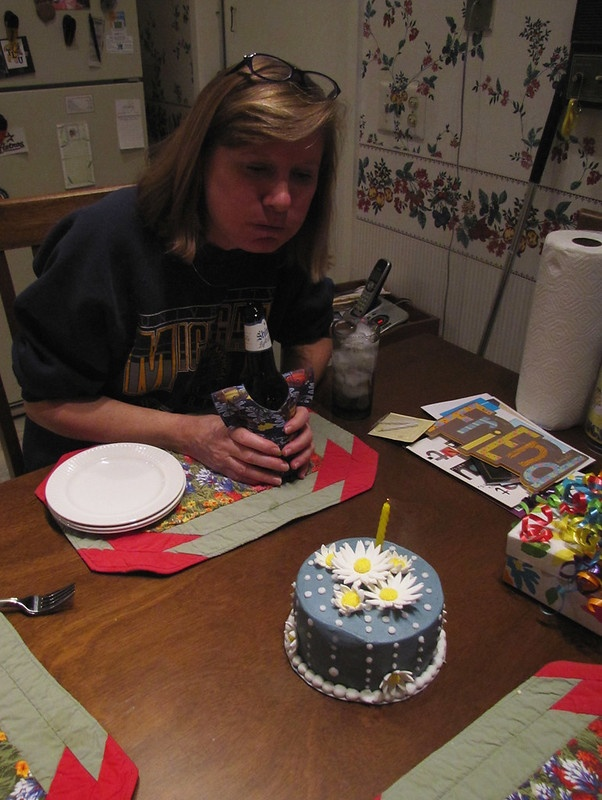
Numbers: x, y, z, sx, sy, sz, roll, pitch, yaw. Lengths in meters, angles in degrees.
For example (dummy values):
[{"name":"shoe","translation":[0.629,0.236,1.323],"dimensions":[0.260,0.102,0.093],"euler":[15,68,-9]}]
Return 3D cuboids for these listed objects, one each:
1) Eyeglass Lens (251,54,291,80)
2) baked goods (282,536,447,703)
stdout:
[{"name":"Eyeglass Lens","translation":[-0.046,-0.536,0.965],"dimensions":[0.070,0.043,0.087],"euler":[2,26,-3]},{"name":"baked goods","translation":[0.061,0.221,0.646],"dimensions":[0.148,0.093,0.146],"euler":[-10,33,-14]}]
